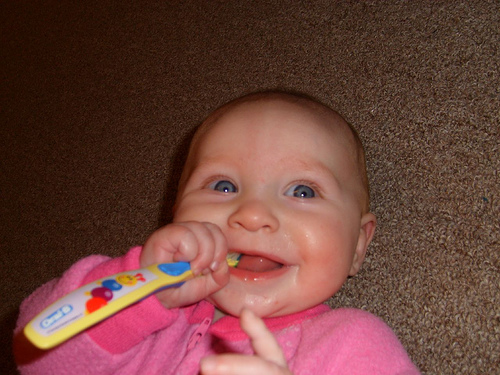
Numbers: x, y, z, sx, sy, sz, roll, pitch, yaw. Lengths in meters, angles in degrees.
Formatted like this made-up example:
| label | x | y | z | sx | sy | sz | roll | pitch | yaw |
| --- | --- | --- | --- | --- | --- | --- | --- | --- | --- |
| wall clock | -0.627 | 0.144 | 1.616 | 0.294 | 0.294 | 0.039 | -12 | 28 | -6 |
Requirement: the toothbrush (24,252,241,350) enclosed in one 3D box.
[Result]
| label | x | y | z | sx | sy | sz | roll | pitch | yaw |
| --- | --- | --- | --- | --- | --- | --- | --- | --- | --- |
| toothbrush | -0.194 | 0.148 | 0.789 | 0.090 | 0.390 | 0.027 | 23 | 108 | 24 |
